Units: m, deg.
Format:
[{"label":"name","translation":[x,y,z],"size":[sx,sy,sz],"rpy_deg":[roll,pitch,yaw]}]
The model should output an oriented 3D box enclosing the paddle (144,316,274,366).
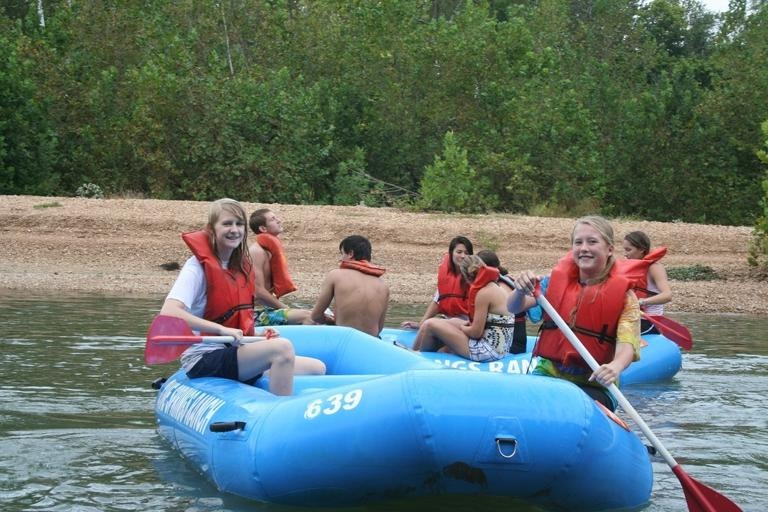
[{"label":"paddle","translation":[-2.215,1.097,13.295],"size":[2.100,0.660,0.166],"rpy_deg":[-3,-27,18]}]
